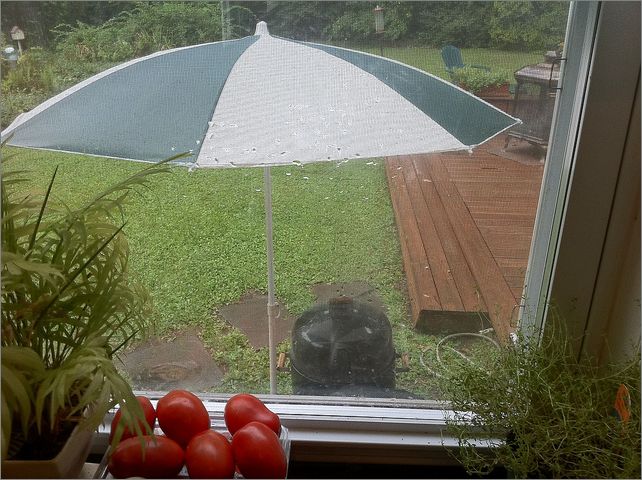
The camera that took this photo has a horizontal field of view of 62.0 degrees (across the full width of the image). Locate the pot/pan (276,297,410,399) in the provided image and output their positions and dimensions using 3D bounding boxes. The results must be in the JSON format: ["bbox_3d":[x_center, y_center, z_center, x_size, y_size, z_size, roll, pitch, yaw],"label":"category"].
[{"bbox_3d":[0.051,0.247,1.405,0.290,0.404,0.235,0,25,3],"label":"pot/pan"}]

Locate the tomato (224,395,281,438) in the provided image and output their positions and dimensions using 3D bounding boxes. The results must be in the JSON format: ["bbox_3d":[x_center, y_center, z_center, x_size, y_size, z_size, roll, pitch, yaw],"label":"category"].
[{"bbox_3d":[-0.132,0.336,1.058,0.089,0.073,0.068,21,2,11],"label":"tomato"}]

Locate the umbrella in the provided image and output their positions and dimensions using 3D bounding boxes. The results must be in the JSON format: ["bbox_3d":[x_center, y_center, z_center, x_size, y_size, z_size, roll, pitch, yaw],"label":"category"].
[{"bbox_3d":[-0.103,-0.111,1.011,0.468,0.466,0.497,-3,19,-3],"label":"umbrella"}]

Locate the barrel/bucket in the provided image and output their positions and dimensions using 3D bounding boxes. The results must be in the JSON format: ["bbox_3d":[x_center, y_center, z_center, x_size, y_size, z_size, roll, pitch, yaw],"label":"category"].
[{"bbox_3d":[0.047,0.208,1.289,0.252,0.282,0.247,-1,12,0],"label":"barrel/bucket"}]

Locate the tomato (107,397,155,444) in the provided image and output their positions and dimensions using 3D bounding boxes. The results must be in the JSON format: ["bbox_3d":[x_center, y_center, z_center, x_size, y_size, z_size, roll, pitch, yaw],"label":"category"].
[{"bbox_3d":[-0.365,0.345,1.047,0.070,0.082,0.099,7,8,33],"label":"tomato"}]
